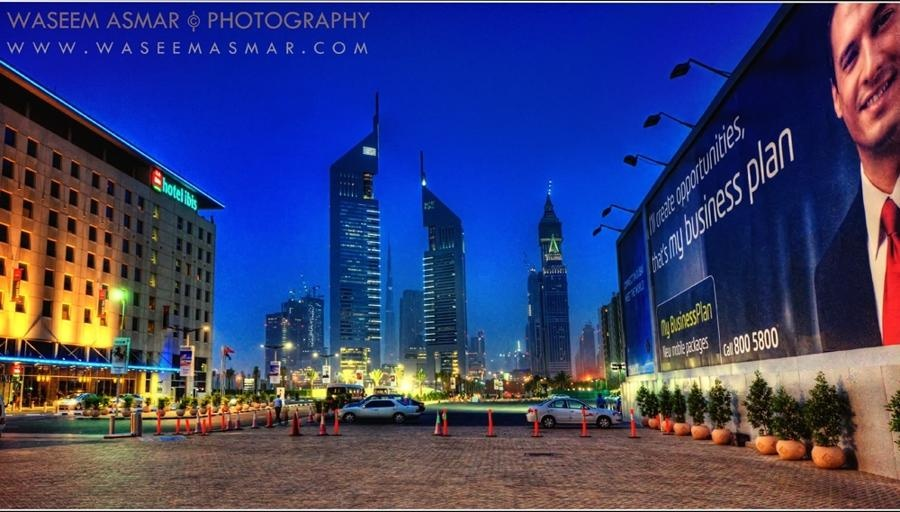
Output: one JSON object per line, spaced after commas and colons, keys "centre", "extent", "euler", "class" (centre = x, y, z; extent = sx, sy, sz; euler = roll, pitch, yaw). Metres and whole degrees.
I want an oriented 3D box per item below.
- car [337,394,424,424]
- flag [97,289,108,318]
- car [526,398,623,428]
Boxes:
{"centre": [-5.249, 11.741, 48.031], "extent": [6.128, 1.552, 2.274], "euler": [2, -8, 1], "class": "car"}
{"centre": [-43.391, 5.672, 78.036], "extent": [0.557, 3.754, 2.198], "euler": [-2, -9, -14], "class": "flag"}
{"centre": [7.871, 10.661, 40.453], "extent": [7.243, 2.284, 2.829], "euler": [-1, -8, 5], "class": "car"}
